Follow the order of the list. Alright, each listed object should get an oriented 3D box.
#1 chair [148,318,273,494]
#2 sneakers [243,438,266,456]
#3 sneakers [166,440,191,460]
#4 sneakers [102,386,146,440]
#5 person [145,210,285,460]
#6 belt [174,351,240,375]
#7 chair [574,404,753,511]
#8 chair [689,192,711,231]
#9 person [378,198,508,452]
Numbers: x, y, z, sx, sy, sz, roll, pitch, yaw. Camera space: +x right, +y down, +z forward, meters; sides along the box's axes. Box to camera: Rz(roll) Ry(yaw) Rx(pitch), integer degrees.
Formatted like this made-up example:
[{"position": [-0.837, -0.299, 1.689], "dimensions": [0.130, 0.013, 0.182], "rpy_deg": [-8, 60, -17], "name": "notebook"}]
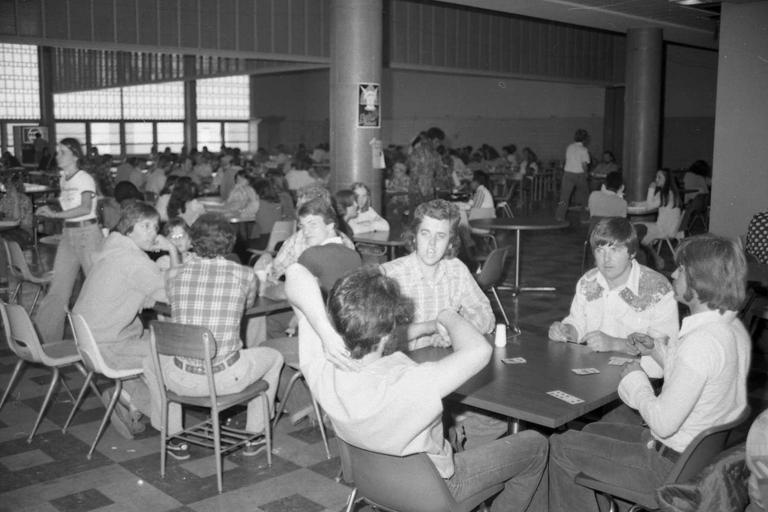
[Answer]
[{"position": [-1.190, 0.959, 4.202], "dimensions": [0.797, 1.099, 0.786], "rpy_deg": [-1, 4, -22], "name": "chair"}, {"position": [-0.933, 1.358, 4.358], "dimensions": [0.109, 0.106, 0.145], "rpy_deg": [-11, -9, 38], "name": "sneakers"}, {"position": [-1.494, 1.361, 4.365], "dimensions": [0.090, 0.089, 0.204], "rpy_deg": [-3, 10, -42], "name": "sneakers"}, {"position": [-1.992, 1.188, 4.693], "dimensions": [0.269, 0.416, 0.140], "rpy_deg": [-35, -17, 18], "name": "sneakers"}, {"position": [-1.259, 0.601, 4.497], "dimensions": [1.005, 1.794, 1.086], "rpy_deg": [3, 3, 41], "name": "person"}, {"position": [-1.190, 0.701, 4.035], "dimensions": [0.431, 0.107, 0.128], "rpy_deg": [-2, 14, -11], "name": "belt"}, {"position": [1.337, 0.963, 2.887], "dimensions": [0.507, 0.635, 0.474], "rpy_deg": [-13, 29, -32], "name": "chair"}, {"position": [5.794, -0.873, 11.053], "dimensions": [0.524, 0.720, 0.582], "rpy_deg": [2, 5, 33], "name": "chair"}, {"position": [0.393, 0.495, 3.909], "dimensions": [0.885, 1.634, 0.735], "rpy_deg": [-2, 10, 35], "name": "person"}]
